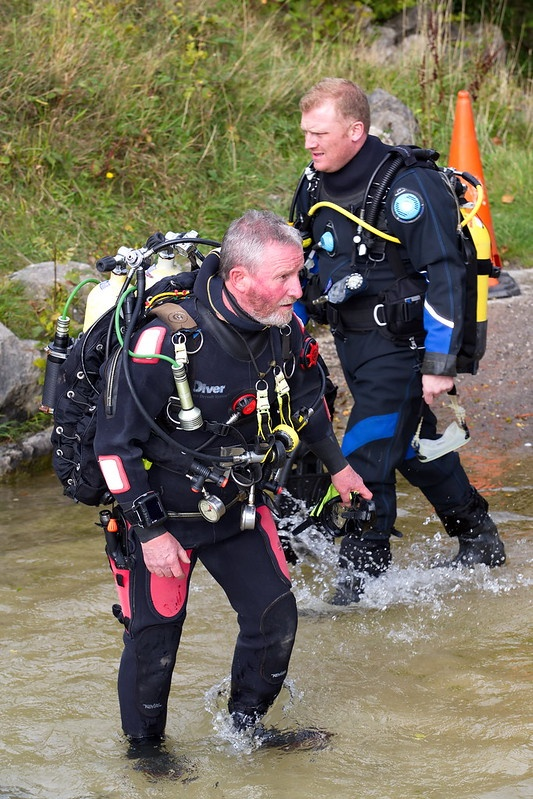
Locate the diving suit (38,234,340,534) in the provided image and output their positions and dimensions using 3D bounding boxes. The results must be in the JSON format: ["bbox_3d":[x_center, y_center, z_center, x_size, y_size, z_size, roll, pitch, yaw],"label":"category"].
[{"bbox_3d":[-0.197,-0.042,2.399,0.880,0.939,0.469,-7,13,-14],"label":"diving suit"}]

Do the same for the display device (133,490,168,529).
[{"bbox_3d":[-0.314,0.298,2.257,0.087,0.095,0.098,-16,3,-7],"label":"display device"}]

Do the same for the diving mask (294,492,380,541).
[{"bbox_3d":[0.303,0.488,3.341,0.285,0.131,0.210,-21,28,0],"label":"diving mask"}]
